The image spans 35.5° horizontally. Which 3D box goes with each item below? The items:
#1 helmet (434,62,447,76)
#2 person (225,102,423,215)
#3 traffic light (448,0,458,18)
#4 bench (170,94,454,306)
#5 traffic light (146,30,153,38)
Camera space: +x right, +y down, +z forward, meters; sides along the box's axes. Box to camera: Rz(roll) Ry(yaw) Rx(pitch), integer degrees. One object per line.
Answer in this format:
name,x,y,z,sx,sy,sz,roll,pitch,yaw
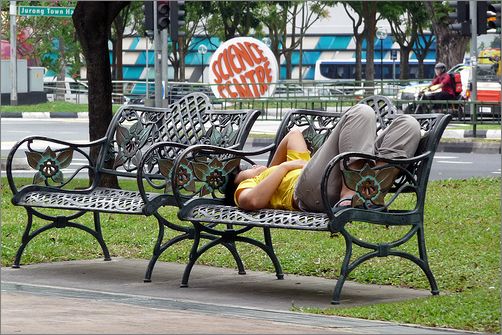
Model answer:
helmet,7.443,-3.814,30.330,0.555,0.586,0.455,0,1,-9
person,0.718,-0.002,7.876,1.171,0.755,1.495,-13,7,-35
traffic light,5.793,-4.521,22.421,0.236,0.487,1.150,2,7,14
bench,0.628,0.340,8.404,1.868,2.028,2.672,-1,1,-38
traffic light,-2.593,-3.436,20.126,0.197,0.151,0.195,-1,-2,-5
